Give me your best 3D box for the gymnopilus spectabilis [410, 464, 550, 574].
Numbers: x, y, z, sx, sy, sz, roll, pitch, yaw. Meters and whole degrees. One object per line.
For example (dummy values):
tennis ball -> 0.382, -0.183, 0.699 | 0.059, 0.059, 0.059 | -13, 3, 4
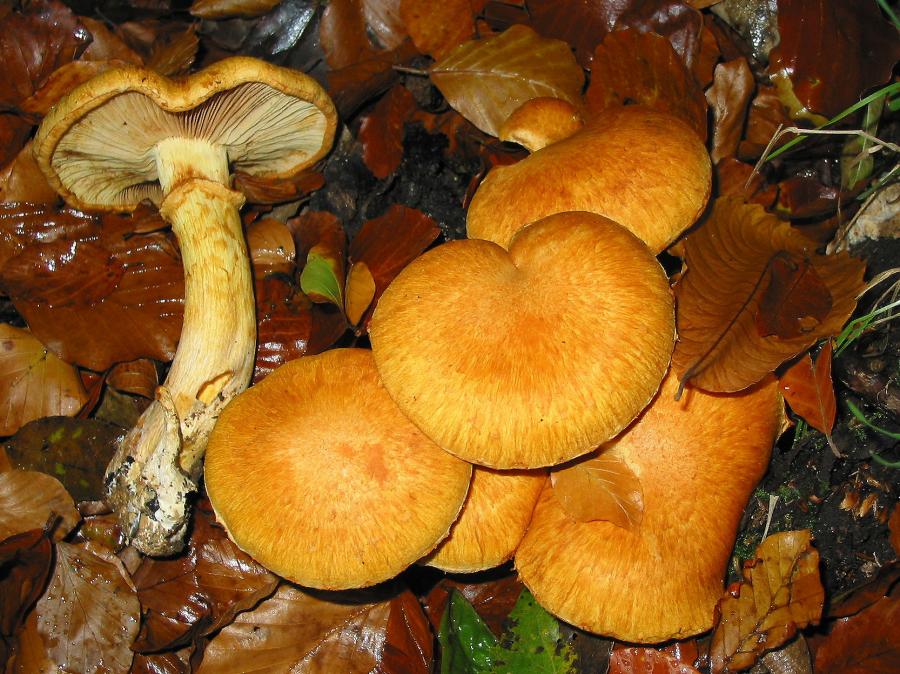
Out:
gymnopilus spectabilis -> 0.208, 0.915, 4.852 | 0.460, 0.192, 0.588 | 34, 92, 22
